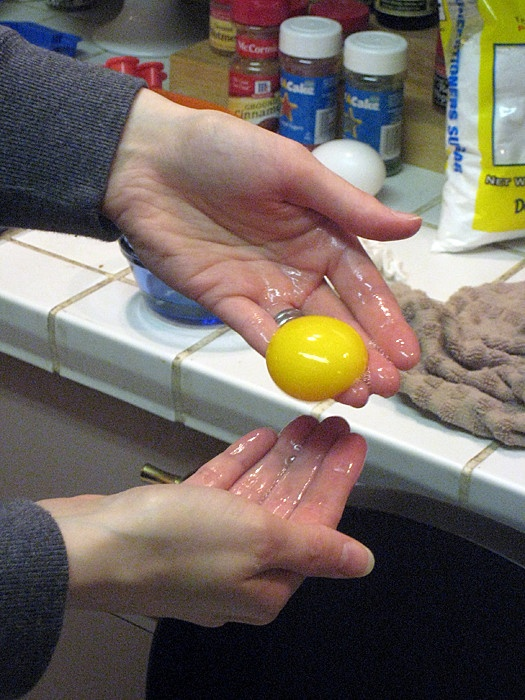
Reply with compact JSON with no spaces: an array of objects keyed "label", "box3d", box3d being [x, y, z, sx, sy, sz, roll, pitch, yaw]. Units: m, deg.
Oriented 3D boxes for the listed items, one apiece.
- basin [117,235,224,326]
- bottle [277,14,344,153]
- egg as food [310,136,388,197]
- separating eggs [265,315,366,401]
[{"label":"basin","box3d":[-0.098,-0.068,0.737,0.111,0.068,0.103,16,34,-11]},{"label":"bottle","box3d":[0.068,-0.406,0.965,0.106,0.164,0.098,2,35,-1]},{"label":"egg as food","box3d":[0.123,-0.248,0.892,0.104,0.089,0.096,5,37,3]},{"label":"separating eggs","box3d":[0.042,0.008,0.496,0.076,0.054,0.068,19,39,20]}]
